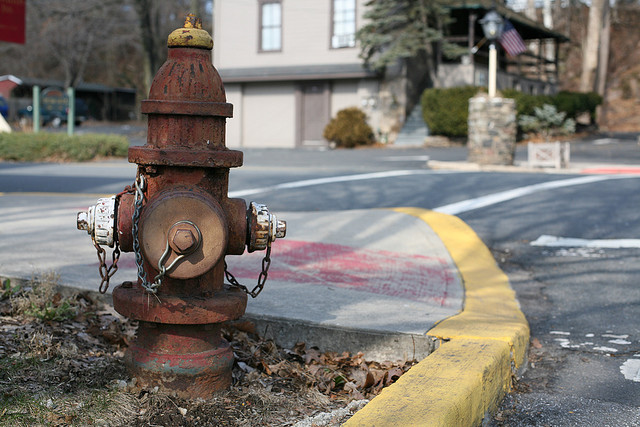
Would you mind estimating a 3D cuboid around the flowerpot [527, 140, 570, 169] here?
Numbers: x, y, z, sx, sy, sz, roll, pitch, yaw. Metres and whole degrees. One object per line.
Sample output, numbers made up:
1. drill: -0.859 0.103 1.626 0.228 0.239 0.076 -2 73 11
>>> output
1. flowerpot: 5.946 -1.533 25.210 0.894 0.705 0.954 -2 0 4
